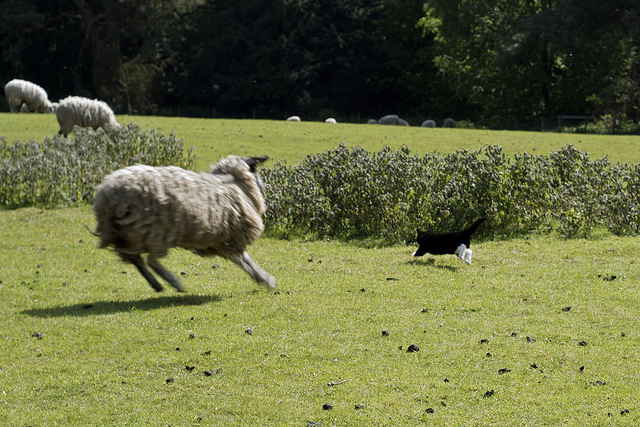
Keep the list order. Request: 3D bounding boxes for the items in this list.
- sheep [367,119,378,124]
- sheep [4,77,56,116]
[{"bbox_3d":[4.127,-7.066,84.157,0.730,0.415,0.742,1,2,-12],"label":"sheep"},{"bbox_3d":[-17.624,-7.134,67.582,2.706,1.998,2.686,0,8,-12],"label":"sheep"}]
